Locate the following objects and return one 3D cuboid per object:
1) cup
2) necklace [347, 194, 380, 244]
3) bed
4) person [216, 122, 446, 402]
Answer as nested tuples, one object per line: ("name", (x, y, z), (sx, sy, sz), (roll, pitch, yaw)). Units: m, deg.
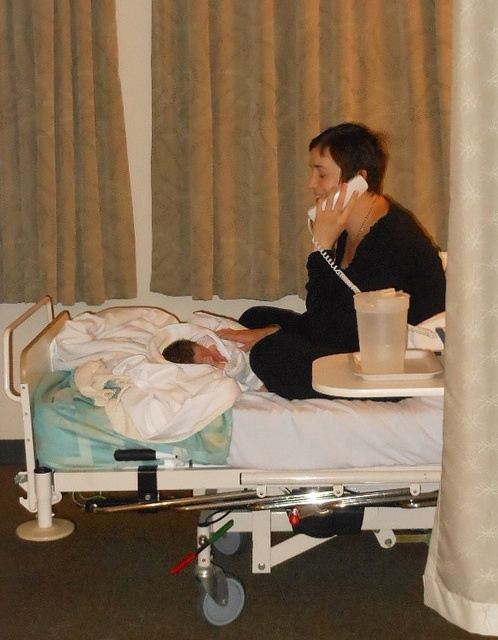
("cup", (0.338, 0.027, 1.725), (0.164, 0.239, 0.164), (-2, 4, 0))
("necklace", (0.328, -0.289, 2.158), (0.024, 0.156, 0.029), (21, 8, -32))
("bed", (-0.120, 0.235, 2.029), (1.040, 0.301, 0.685), (3, 26, 1))
("person", (0.203, -0.214, 2.463), (0.791, 0.853, 0.661), (1, 6, 1))
